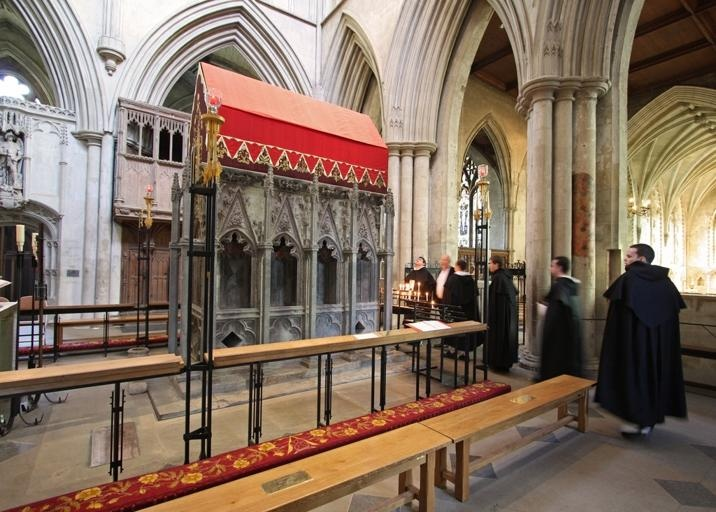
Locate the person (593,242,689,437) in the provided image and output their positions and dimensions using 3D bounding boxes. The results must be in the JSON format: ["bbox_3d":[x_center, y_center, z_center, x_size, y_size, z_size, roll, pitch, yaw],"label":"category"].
[{"bbox_3d":[4.559,1.279,9.231,1.353,2.646,0.446,-2,-2,-11],"label":"person"}]

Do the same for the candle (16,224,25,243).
[{"bbox_3d":[-6.069,-0.402,10.251,0.084,0.318,0.152,-2,-2,-23],"label":"candle"}]

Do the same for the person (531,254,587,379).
[{"bbox_3d":[3.504,1.095,9.924,0.712,1.679,0.410,-3,-2,16],"label":"person"}]
